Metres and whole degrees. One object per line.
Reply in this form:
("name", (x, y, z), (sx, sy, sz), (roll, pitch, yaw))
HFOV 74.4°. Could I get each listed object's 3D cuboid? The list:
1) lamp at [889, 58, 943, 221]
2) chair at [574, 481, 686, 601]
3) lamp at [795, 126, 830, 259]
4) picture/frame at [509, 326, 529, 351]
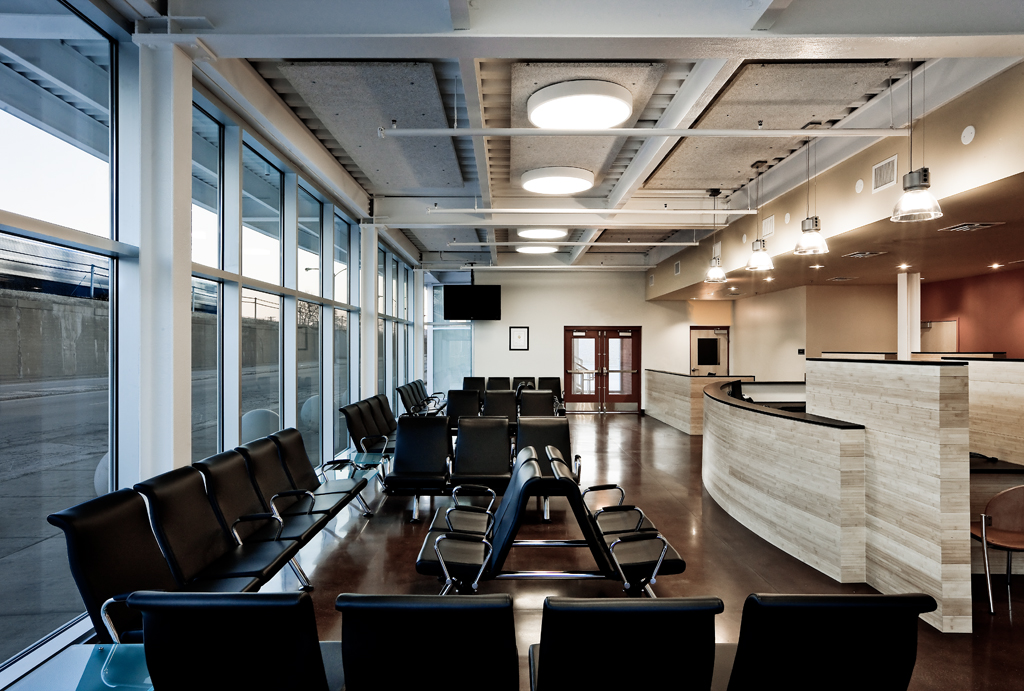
("lamp", (3.807, -1.885, 6.352), (0.356, 1.512, 1.014), (0, 0, 32))
("chair", (1.105, 1.736, 6.150), (0.728, 0.831, 1.475), (0, 0, 6))
("lamp", (3.563, -1.746, 8.035), (0.297, 1.396, 1.224), (0, 0, 24))
("picture/frame", (0.152, -0.199, 16.480), (0.688, 0.663, 0.054), (0, -3, -4))
